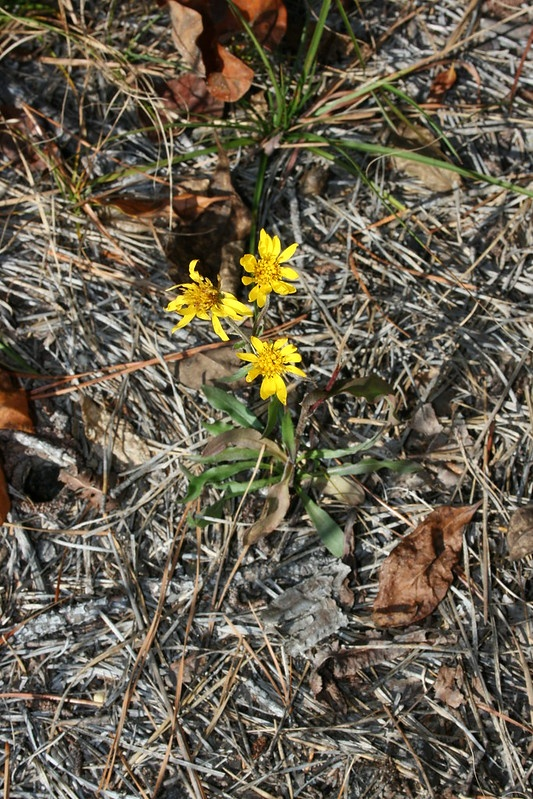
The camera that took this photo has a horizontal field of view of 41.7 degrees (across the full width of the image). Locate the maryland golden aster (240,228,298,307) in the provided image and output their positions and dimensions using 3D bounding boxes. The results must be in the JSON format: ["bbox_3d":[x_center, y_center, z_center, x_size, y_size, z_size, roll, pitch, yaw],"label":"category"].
[{"bbox_3d":[-0.011,-0.366,1.869,0.198,0.161,0.076,-15,81,-2],"label":"maryland golden aster"}]
